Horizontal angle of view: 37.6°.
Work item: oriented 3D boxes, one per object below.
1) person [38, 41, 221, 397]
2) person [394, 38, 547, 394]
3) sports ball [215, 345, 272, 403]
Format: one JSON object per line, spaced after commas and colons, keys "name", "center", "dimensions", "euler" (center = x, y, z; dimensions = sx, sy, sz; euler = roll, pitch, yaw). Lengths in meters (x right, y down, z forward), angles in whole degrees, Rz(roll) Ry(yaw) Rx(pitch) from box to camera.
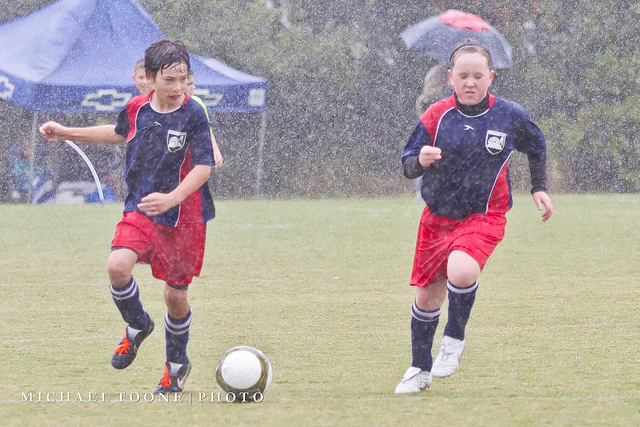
{"name": "person", "center": [-1.322, 0.018, 7.452], "dimensions": [0.978, 2.686, 0.868], "euler": [-2, 14, -8]}
{"name": "person", "center": [1.215, 0.015, 7.865], "dimensions": [1.156, 2.804, 1.195], "euler": [3, 4, 15]}
{"name": "sports ball", "center": [-0.653, 1.219, 7.433], "dimensions": [0.418, 0.410, 0.424], "euler": [-12, -4, -1]}
